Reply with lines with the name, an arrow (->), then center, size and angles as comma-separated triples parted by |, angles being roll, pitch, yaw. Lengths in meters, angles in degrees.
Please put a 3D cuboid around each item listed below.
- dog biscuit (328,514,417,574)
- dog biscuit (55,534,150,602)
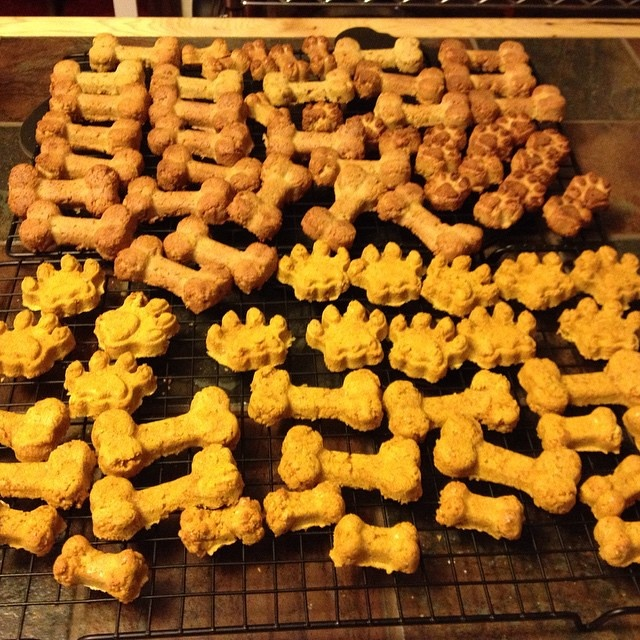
dog biscuit -> 0.093, 0.373, 1.107 | 0.137, 0.061, 0.099 | 8, 30, 4
dog biscuit -> -0.344, 0.397, 1.056 | 0.137, 0.054, 0.094 | 17, 72, 0
